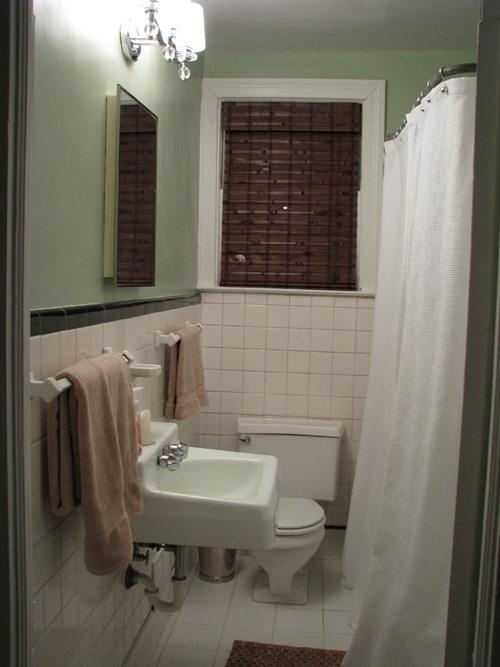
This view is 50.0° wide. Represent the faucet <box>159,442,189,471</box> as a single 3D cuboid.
[{"bbox_3d":[-0.232,0.364,1.596,0.085,0.071,0.066,0,3,-13],"label":"faucet"}]

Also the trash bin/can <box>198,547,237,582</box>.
[{"bbox_3d":[-0.141,1.011,2.429,0.179,0.150,0.153,0,3,-12],"label":"trash bin/can"}]

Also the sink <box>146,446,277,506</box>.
[{"bbox_3d":[-0.087,0.477,1.712,0.360,0.162,0.373,1,3,9],"label":"sink"}]

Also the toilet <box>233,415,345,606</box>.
[{"bbox_3d":[0.208,0.777,2.479,0.387,0.704,0.630,1,4,4],"label":"toilet"}]
